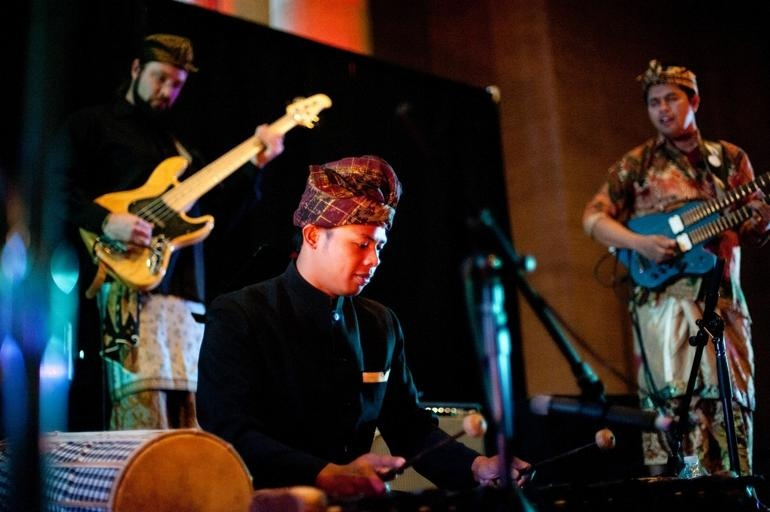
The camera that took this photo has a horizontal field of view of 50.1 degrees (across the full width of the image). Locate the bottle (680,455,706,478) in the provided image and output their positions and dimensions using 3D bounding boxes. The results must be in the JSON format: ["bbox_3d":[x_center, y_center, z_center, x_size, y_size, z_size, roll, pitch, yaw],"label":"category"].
[{"bbox_3d":[1.615,1.133,4.374,0.107,0.130,0.133,2,-44,7],"label":"bottle"}]

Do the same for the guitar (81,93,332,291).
[{"bbox_3d":[-1.025,-0.325,4.513,1.159,0.376,0.151,-41,1,-38],"label":"guitar"}]

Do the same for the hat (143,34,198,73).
[{"bbox_3d":[-1.182,-1.110,4.545,0.232,0.142,0.189,3,11,5],"label":"hat"}]
